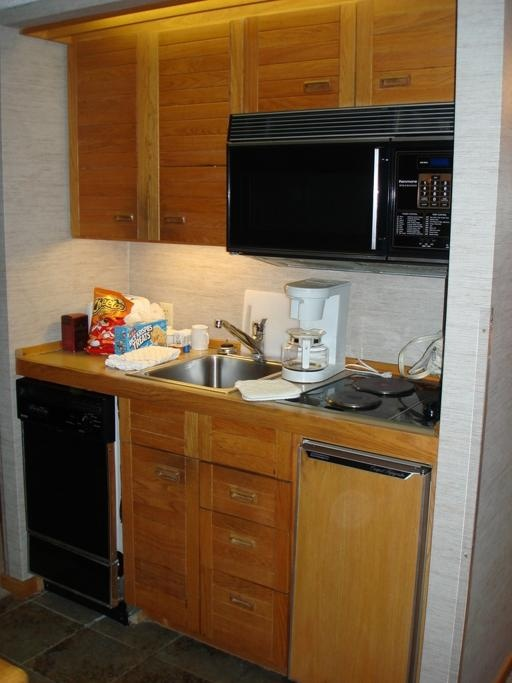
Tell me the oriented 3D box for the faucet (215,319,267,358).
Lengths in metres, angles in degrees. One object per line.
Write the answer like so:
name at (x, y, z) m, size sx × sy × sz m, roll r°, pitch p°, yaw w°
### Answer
faucet at (-0.058, -0.009, 2.218) m, size 0.178 × 0.161 × 0.332 m, roll 0°, pitch 5°, yaw 1°

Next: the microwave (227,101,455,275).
microwave at (0.331, -0.507, 1.828) m, size 0.767 × 0.463 × 0.424 m, roll 13°, pitch 24°, yaw 36°

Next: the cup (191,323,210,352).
cup at (-0.243, -0.010, 2.397) m, size 0.072 × 0.104 × 0.112 m, roll -2°, pitch 8°, yaw -22°
